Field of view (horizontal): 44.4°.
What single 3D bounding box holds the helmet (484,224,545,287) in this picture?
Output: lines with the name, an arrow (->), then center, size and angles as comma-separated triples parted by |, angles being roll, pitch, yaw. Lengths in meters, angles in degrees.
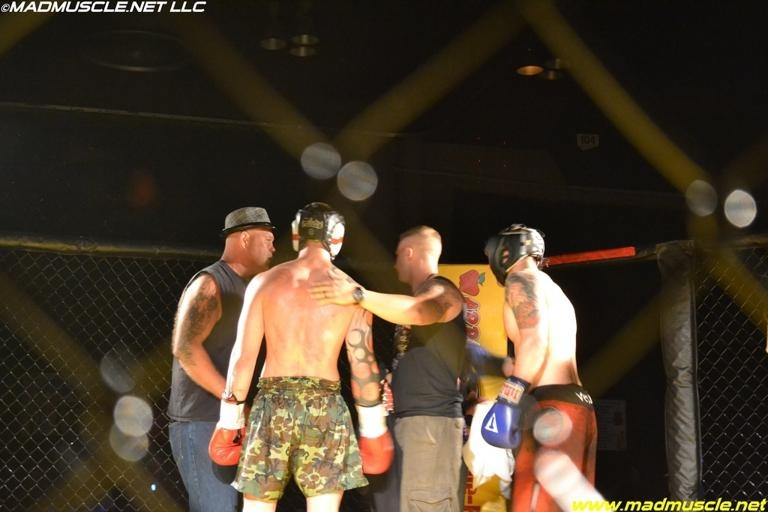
helmet -> 1.206, -0.030, 8.241 | 0.533, 0.531, 0.436 | 1, -6, 24

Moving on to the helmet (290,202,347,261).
helmet -> -0.551, -0.240, 7.856 | 0.405, 0.441, 0.456 | 4, -21, -3

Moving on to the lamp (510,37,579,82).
lamp -> 1.658, -2.058, 9.892 | 0.528, 0.385, 0.312 | 7, 15, 8

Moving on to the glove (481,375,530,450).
glove -> 0.978, 1.294, 7.695 | 0.326, 0.638, 0.175 | 8, 15, 11

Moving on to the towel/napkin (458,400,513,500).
towel/napkin -> 0.855, 1.653, 7.901 | 0.242, 0.684, 0.511 | 3, 8, -38
